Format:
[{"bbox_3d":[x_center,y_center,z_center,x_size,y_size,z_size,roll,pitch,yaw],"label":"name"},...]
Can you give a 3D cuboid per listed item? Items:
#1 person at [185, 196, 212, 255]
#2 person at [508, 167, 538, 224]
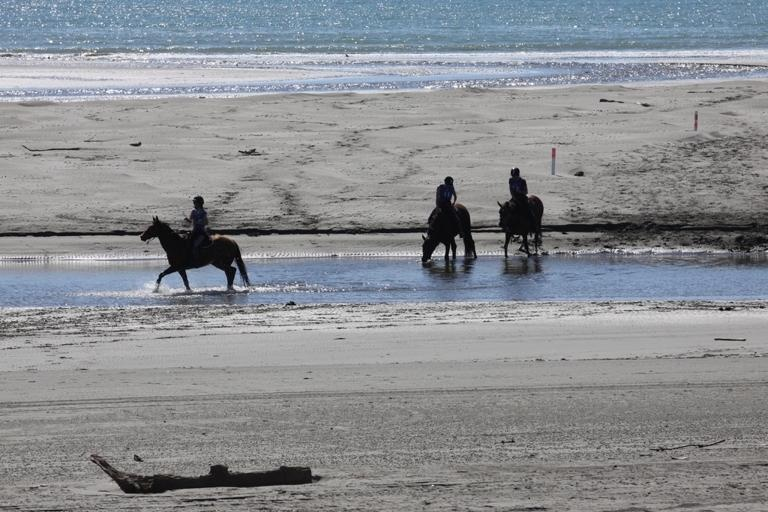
[{"bbox_3d":[-7.586,-1.410,79.028,0.865,2.342,1.451,-5,17,-4],"label":"person"},{"bbox_3d":[6.133,-2.577,82.118,0.987,2.346,1.074,-4,18,-1],"label":"person"}]
